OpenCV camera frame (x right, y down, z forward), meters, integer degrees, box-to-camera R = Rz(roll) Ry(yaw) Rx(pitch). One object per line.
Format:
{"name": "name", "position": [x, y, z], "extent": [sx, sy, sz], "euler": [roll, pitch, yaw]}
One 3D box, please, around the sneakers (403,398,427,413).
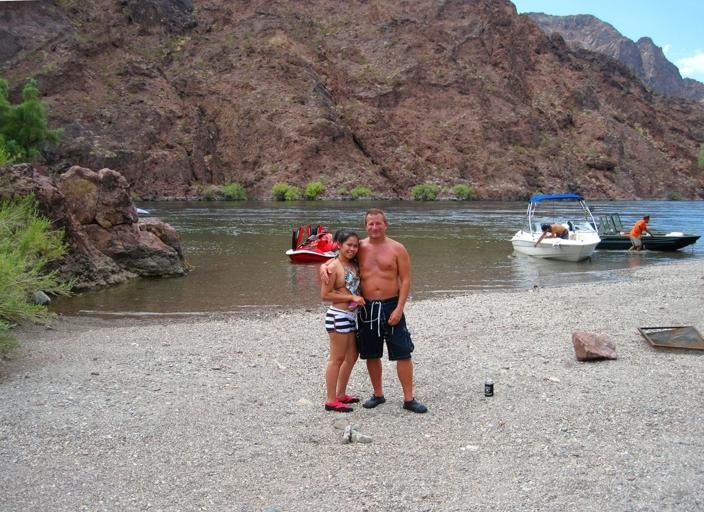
{"name": "sneakers", "position": [0.931, 2.218, 9.226], "extent": [0.318, 0.113, 0.160], "euler": [1, 0, 32]}

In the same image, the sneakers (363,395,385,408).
{"name": "sneakers", "position": [0.346, 2.194, 9.398], "extent": [0.362, 0.132, 0.132], "euler": [-1, 3, -28]}

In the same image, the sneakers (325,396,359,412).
{"name": "sneakers", "position": [-0.147, 2.220, 9.317], "extent": [0.505, 0.174, 0.173], "euler": [-1, 6, 5]}

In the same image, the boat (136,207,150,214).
{"name": "boat", "position": [-19.677, -4.356, 57.971], "extent": [0.952, 0.591, 12.897], "euler": [-3, 8, -20]}

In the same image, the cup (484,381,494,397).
{"name": "cup", "position": [2.119, 2.056, 9.608], "extent": [0.230, 0.223, 0.214], "euler": [0, -3, 0]}

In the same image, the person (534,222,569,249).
{"name": "person", "position": [8.567, -0.921, 26.521], "extent": [1.333, 0.950, 0.660], "euler": [2, 9, 18]}

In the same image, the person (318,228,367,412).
{"name": "person", "position": [-0.123, 1.041, 9.030], "extent": [0.600, 2.566, 0.587], "euler": [0, 9, 1]}
